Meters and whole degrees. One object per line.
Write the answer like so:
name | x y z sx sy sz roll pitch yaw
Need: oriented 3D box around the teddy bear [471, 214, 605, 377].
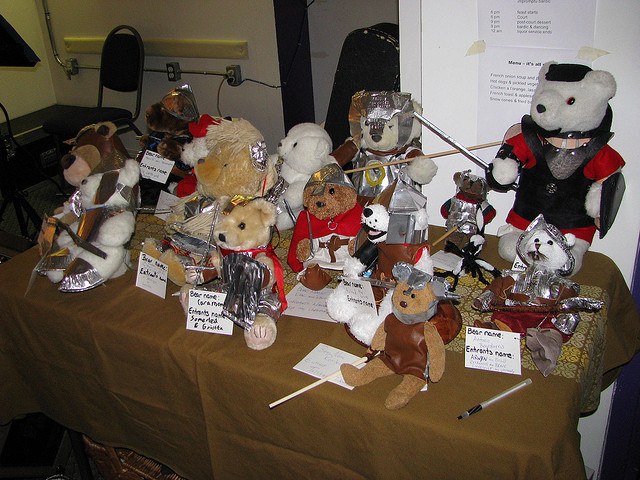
teddy bear | 0.744 0.165 1.721 0.254 0.475 0.367 1 14 -26

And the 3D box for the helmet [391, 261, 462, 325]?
helmet | 0.315 0.143 1.543 0.178 0.110 0.187 16 20 19

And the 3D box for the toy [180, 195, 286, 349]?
toy | -0.321 0.127 1.843 0.411 0.537 0.301 8 10 29

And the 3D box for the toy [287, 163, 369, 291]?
toy | 0.044 -0.067 2.001 0.345 0.488 0.273 -5 17 -2

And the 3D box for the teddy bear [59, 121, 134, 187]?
teddy bear | -0.943 -0.330 2.175 0.312 0.338 0.231 -11 4 -39

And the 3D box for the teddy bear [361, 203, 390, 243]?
teddy bear | 0.196 -0.060 1.777 0.096 0.128 0.050 3 19 23

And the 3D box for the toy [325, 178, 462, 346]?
toy | 0.220 0.061 1.792 0.364 0.540 0.367 -7 23 -18

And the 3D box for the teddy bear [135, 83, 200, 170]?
teddy bear | -0.746 -0.586 2.506 0.297 0.404 0.293 3 24 -18

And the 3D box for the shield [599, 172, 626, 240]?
shield | 1.070 -0.138 1.841 0.024 0.186 0.168 18 52 32

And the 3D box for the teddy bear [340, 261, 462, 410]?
teddy bear | 0.249 0.287 1.553 0.297 0.390 0.302 9 14 18

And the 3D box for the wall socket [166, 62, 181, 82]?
wall socket | -1.252 -1.433 4.283 0.162 0.168 0.099 19 26 38

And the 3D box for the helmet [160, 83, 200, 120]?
helmet | -0.689 -0.703 2.521 0.189 0.191 0.144 -18 22 -20

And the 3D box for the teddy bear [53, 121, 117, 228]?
teddy bear | -0.972 -0.262 2.120 0.252 0.457 0.297 7 -20 -44

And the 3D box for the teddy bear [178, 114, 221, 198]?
teddy bear | -0.487 -0.312 2.082 0.189 0.392 0.146 3 14 -19

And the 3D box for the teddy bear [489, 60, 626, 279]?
teddy bear | 0.901 -0.253 1.926 0.443 0.805 0.389 19 39 38

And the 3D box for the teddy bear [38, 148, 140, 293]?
teddy bear | -0.925 -0.105 2.006 0.364 0.549 0.344 14 11 29

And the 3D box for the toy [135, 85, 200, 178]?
toy | -0.769 -0.553 2.533 0.291 0.459 0.333 -5 17 -29

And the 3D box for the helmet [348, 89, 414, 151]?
helmet | 0.264 -0.521 2.185 0.264 0.261 0.231 1 8 -3

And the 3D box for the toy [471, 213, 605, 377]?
toy | 0.735 0.167 1.684 0.397 0.441 0.329 5 20 7

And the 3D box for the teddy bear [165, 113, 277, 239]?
teddy bear | -0.398 -0.215 2.034 0.433 0.585 0.423 5 -1 -30

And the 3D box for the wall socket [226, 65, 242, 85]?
wall socket | -0.665 -1.310 3.950 0.083 0.155 0.080 14 44 14

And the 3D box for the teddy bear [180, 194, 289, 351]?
teddy bear | -0.322 0.129 1.844 0.409 0.515 0.324 8 11 23

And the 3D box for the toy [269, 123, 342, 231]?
toy | -0.084 -0.344 2.404 0.356 0.543 0.434 -4 20 -28

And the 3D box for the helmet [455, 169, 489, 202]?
helmet | 0.610 -0.228 2.018 0.093 0.124 0.108 9 47 35

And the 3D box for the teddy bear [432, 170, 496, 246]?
teddy bear | 0.573 -0.117 2.008 0.229 0.325 0.175 10 21 18

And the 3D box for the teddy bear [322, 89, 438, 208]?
teddy bear | 0.275 -0.379 2.116 0.511 0.599 0.312 10 25 26

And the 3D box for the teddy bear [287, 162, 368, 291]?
teddy bear | 0.045 -0.066 2.003 0.344 0.486 0.267 -6 15 -7

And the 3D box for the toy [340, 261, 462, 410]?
toy | 0.248 0.289 1.552 0.309 0.385 0.315 4 15 -2

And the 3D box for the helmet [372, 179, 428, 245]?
helmet | 0.297 -0.111 1.828 0.198 0.209 0.194 -29 37 -34
